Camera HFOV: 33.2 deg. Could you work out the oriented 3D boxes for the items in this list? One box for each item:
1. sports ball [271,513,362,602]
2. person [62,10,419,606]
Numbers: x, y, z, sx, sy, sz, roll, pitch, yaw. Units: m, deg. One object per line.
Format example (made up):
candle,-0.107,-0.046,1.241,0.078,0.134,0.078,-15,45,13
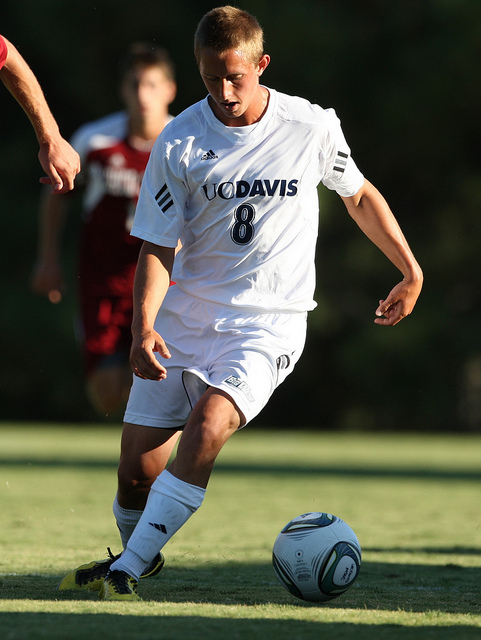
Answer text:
sports ball,0.242,0.774,2.637,0.317,0.258,0.271,-3,-24,19
person,-0.018,0.024,2.753,0.937,1.739,0.746,2,-5,1
